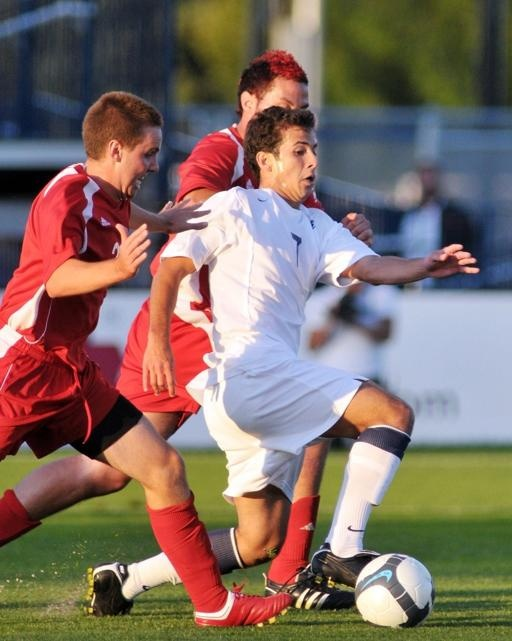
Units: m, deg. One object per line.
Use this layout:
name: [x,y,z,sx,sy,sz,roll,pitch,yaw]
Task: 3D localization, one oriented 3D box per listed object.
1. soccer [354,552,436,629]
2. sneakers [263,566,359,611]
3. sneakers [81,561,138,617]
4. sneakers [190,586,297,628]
soccer: [0.517,1.057,5.714,0.267,0.277,0.277,-31,2,-20]
sneakers: [0.227,1.131,6.020,0.410,0.183,0.142,-3,-2,21]
sneakers: [-0.602,1.114,6.016,0.162,0.239,0.220,7,17,28]
sneakers: [-0.049,1.136,5.703,0.425,0.202,0.142,-8,2,-7]
